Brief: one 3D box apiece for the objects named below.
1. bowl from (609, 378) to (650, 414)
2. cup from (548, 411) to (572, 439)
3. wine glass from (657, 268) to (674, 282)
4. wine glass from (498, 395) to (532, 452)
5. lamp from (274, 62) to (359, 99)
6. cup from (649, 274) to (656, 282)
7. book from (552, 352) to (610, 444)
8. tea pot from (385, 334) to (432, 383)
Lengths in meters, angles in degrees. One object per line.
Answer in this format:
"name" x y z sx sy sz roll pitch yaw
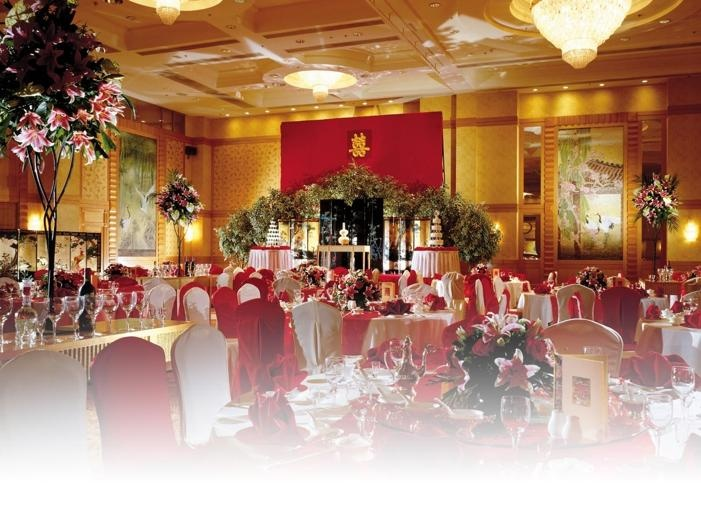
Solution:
"bowl" 1.146 0.592 2.146 0.122 0.052 0.124 -9 3 1
"cup" 0.704 0.575 1.742 0.063 0.088 0.086 0 -7 4
"wine glass" 6.034 0.360 9.798 0.282 0.348 0.315 0 -5 12
"wine glass" 0.551 0.534 1.723 0.079 0.212 0.271 0 4 19
"lamp" -0.710 -4.641 13.579 1.132 0.323 1.156 2 -2 -25
"cup" 5.853 0.436 10.001 0.105 0.123 0.103 2 -2 0
"book" 0.790 0.499 1.773 0.047 0.372 0.264 3 -4 -37
"tea pot" 0.252 0.440 2.262 0.215 0.243 0.149 -2 1 -12
